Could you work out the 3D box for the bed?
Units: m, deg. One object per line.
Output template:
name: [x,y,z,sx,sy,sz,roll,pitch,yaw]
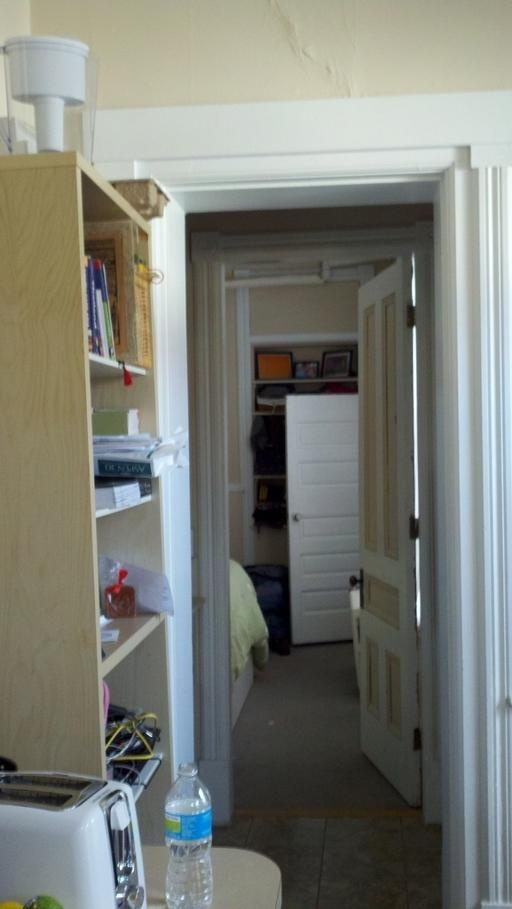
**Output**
bed: [-0.015,0.992,3.766,0.208,0.735,0.411,3,-2,-18]
